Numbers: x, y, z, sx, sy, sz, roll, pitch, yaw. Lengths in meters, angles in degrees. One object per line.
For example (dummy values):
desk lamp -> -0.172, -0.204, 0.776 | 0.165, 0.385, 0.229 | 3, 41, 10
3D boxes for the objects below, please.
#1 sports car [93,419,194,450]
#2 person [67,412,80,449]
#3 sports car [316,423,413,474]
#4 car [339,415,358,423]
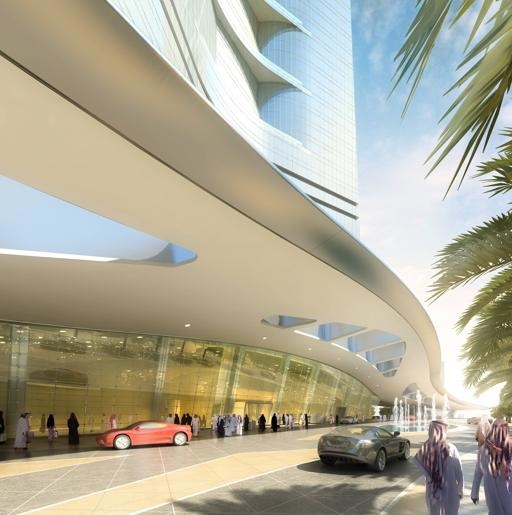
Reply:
sports car -> -5.096, 8.241, 16.051 | 3.329, 0.889, 1.699 | 14, -29, -28
person -> -8.911, 8.589, 17.203 | 0.617, 1.338, 2.182 | 9, -15, -25
sports car -> 3.697, 6.115, 11.466 | 1.493, 0.874, 2.946 | -13, -22, 36
car -> 11.327, 20.167, 42.588 | 1.325, 0.614, 2.161 | -16, -31, 29
